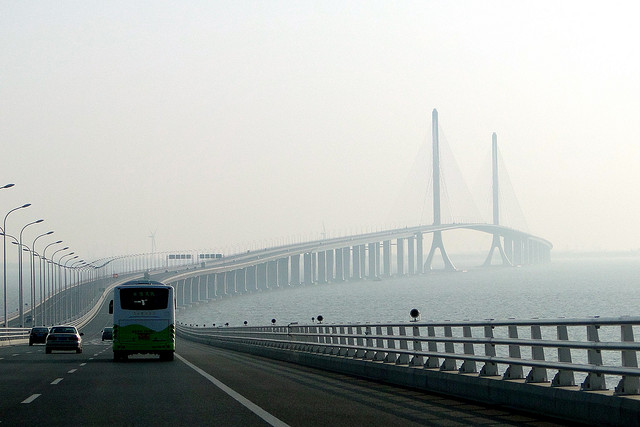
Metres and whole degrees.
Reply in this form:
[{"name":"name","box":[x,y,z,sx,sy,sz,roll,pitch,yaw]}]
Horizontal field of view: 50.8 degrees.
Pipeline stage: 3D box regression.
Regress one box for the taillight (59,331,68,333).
[{"name":"taillight","box":[-16.074,7.397,42.284,0.418,0.096,0.358,0,-2,-16]}]

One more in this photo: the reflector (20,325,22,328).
[{"name":"reflector","box":[-33.941,12.755,76.686,0.164,0.272,0.290,2,-10,-26]}]

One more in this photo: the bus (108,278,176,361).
[{"name":"bus","box":[-8.657,5.038,33.761,2.398,2.421,4.556,0,0,-10]}]

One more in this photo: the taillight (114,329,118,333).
[{"name":"taillight","box":[-9.605,5.515,31.799,0.074,0.147,0.234,9,-12,-44]}]

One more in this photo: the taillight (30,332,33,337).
[{"name":"taillight","box":[-26.831,11.258,62.725,0.190,0.339,0.336,-1,-9,7]}]
